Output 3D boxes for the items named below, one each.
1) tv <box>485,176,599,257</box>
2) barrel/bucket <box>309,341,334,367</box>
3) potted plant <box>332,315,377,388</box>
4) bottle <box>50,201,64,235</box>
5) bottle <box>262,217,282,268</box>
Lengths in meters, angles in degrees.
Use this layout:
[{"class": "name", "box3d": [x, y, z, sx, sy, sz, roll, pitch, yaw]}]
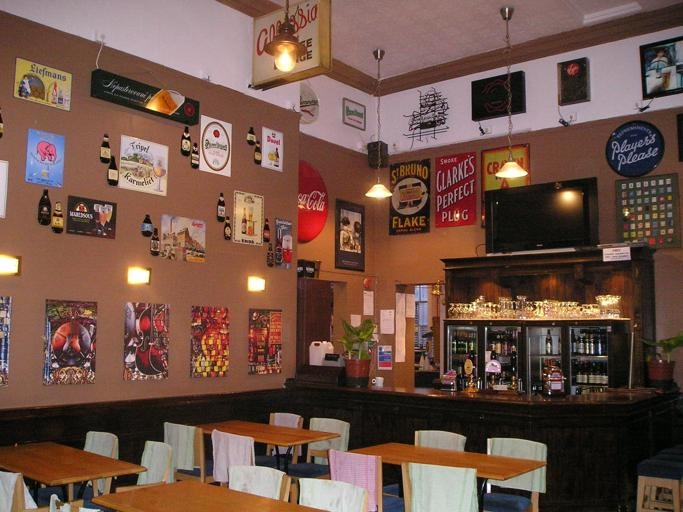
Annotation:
[{"class": "tv", "box3d": [3.050, -0.542, 9.723, 1.159, 0.767, 0.166, -2, -4, 35]}, {"class": "barrel/bucket", "box3d": [-0.297, 1.356, 9.218, 0.366, 0.538, 0.282, -2, -10, 21]}, {"class": "potted plant", "box3d": [0.163, 1.298, 8.711, 0.533, 0.848, 0.591, 10, -6, -38]}, {"class": "bottle", "box3d": [-3.037, -0.401, 6.968, 0.027, 0.336, 0.143, -7, -13, 38]}, {"class": "bottle", "box3d": [-0.950, -0.165, 8.949, 0.092, 0.626, 0.373, -4, -11, 28]}]
